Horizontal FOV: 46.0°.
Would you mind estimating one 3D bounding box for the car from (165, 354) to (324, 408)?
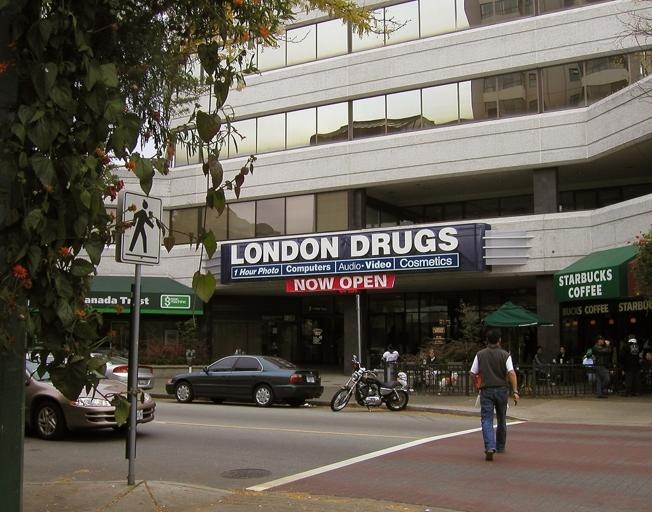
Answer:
[{"bbox_3d":[-2.260,3.673,22.559,3.951,1.494,1.850,0,-10,21],"label":"car"}]

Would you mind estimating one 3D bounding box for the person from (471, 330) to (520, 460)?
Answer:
[{"bbox_3d":[2.789,2.258,12.752,0.689,2.098,1.133,-1,0,24],"label":"person"}]

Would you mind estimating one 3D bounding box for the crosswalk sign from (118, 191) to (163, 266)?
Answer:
[{"bbox_3d":[-2.255,-0.328,9.542,0.552,0.860,0.101,6,7,13],"label":"crosswalk sign"}]
